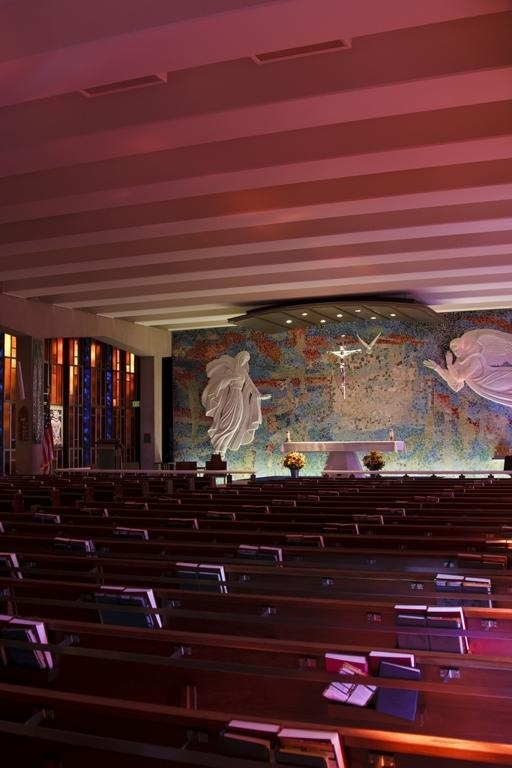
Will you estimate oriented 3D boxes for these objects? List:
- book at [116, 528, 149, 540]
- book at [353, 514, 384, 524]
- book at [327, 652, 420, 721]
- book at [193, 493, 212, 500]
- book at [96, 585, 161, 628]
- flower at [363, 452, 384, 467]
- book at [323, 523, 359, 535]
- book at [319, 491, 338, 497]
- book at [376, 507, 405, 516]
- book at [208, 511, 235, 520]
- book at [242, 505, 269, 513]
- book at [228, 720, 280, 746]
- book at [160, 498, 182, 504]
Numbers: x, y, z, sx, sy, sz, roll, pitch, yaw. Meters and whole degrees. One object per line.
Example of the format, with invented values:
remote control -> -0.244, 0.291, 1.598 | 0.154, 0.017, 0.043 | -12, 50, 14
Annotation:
book -> -0.787, 0.967, 3.669 | 0.133, 0.033, 0.093 | 5, 4, 14
book -> 0.874, 1.047, 4.379 | 0.133, 0.036, 0.131 | 0, -3, 15
book -> 0.257, 0.657, 1.248 | 0.143, 0.145, 0.035 | -2, -3, 6
book -> -0.610, 1.320, 6.629 | 0.138, 0.031, 0.125 | 1, 0, 3
book -> -0.422, 0.753, 1.985 | 0.182, 0.186, 0.045 | 1, 20, 17
flower -> 3.483, 2.255, 16.840 | 0.509, 0.487, 0.500 | 1, -6, 1
book -> 0.575, 0.981, 3.838 | 0.127, 0.045, 0.121 | -1, -4, 38
book -> 0.921, 1.396, 7.153 | 0.150, 0.036, 0.139 | 1, 2, 14
book -> 1.167, 1.113, 4.952 | 0.143, 0.037, 0.134 | 0, -3, 35
book -> -0.287, 1.100, 4.756 | 0.125, 0.032, 0.117 | 2, -6, 13
book -> -0.001, 1.185, 5.372 | 0.236, 0.087, 0.054 | 3, -2, 19
book -> -0.005, 0.612, 0.998 | 0.098, 0.028, 0.056 | -2, 2, 6
book -> -0.901, 1.245, 6.039 | 0.125, 0.037, 0.124 | 1, -1, 5
